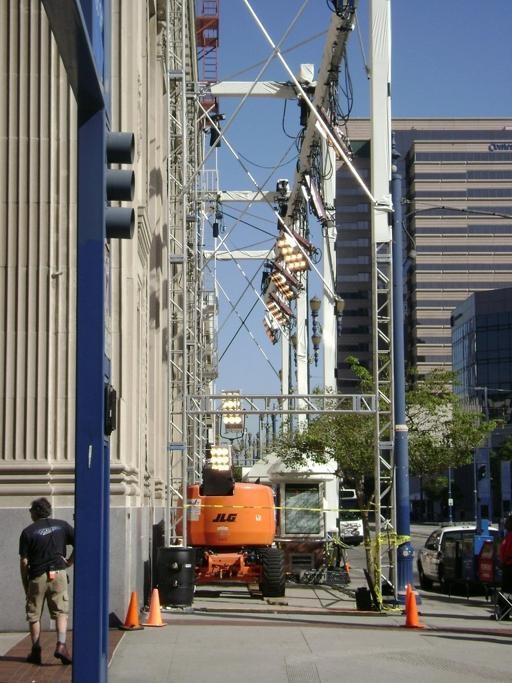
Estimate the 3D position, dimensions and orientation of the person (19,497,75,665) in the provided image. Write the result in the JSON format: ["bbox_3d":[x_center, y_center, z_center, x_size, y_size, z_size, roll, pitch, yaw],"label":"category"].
[{"bbox_3d":[-2.081,2.351,12.024,0.529,1.631,0.612,1,-7,-12],"label":"person"}]

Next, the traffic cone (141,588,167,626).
[{"bbox_3d":[-1.334,3.480,15.989,0.267,0.469,1.165,0,-9,-4],"label":"traffic cone"}]

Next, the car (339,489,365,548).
[{"bbox_3d":[4.132,7.778,53.355,1.601,2.269,3.782,-1,0,6],"label":"car"}]

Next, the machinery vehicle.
[{"bbox_3d":[-0.391,3.798,22.977,1.487,2.102,2.521,-1,-20,0],"label":"machinery vehicle"}]

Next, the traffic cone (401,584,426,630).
[{"bbox_3d":[2.151,3.699,16.931,0.433,0.758,0.518,-2,-15,0],"label":"traffic cone"}]

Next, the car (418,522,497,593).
[{"bbox_3d":[4.360,4.603,26.027,1.062,1.401,2.706,1,-6,-1],"label":"car"}]
